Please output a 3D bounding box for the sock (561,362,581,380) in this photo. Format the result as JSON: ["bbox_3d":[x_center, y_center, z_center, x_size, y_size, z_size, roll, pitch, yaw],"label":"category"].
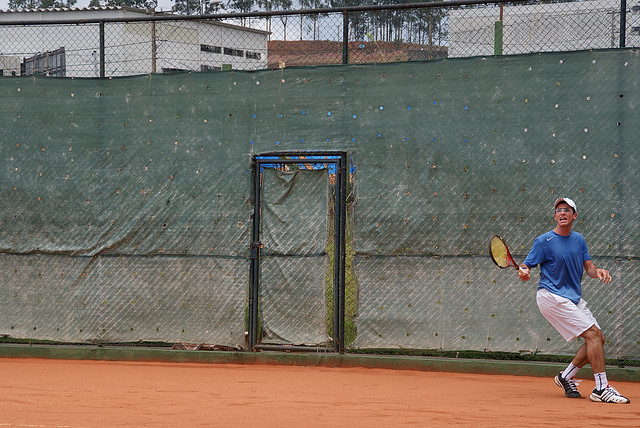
[{"bbox_3d":[3.566,2.199,19.370,0.238,0.227,0.112,3,7,7],"label":"sock"}]

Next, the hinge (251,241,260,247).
[{"bbox_3d":[-0.980,0.457,21.127,0.127,0.078,0.025,2,7,-1],"label":"hinge"}]

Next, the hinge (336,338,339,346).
[{"bbox_3d":[0.288,1.941,20.901,0.042,0.105,0.018,2,7,0],"label":"hinge"}]

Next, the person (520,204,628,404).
[{"bbox_3d":[3.569,1.228,19.311,1.343,2.696,0.603,4,8,18],"label":"person"}]

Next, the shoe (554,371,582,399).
[{"bbox_3d":[3.573,2.398,19.428,0.186,0.229,0.540,5,28,-28],"label":"shoe"}]

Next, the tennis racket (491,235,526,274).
[{"bbox_3d":[2.591,0.524,19.312,0.320,0.433,0.304,2,7,4],"label":"tennis racket"}]

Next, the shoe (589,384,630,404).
[{"bbox_3d":[4.073,2.534,19.169,0.579,0.253,0.210,0,-7,14],"label":"shoe"}]
